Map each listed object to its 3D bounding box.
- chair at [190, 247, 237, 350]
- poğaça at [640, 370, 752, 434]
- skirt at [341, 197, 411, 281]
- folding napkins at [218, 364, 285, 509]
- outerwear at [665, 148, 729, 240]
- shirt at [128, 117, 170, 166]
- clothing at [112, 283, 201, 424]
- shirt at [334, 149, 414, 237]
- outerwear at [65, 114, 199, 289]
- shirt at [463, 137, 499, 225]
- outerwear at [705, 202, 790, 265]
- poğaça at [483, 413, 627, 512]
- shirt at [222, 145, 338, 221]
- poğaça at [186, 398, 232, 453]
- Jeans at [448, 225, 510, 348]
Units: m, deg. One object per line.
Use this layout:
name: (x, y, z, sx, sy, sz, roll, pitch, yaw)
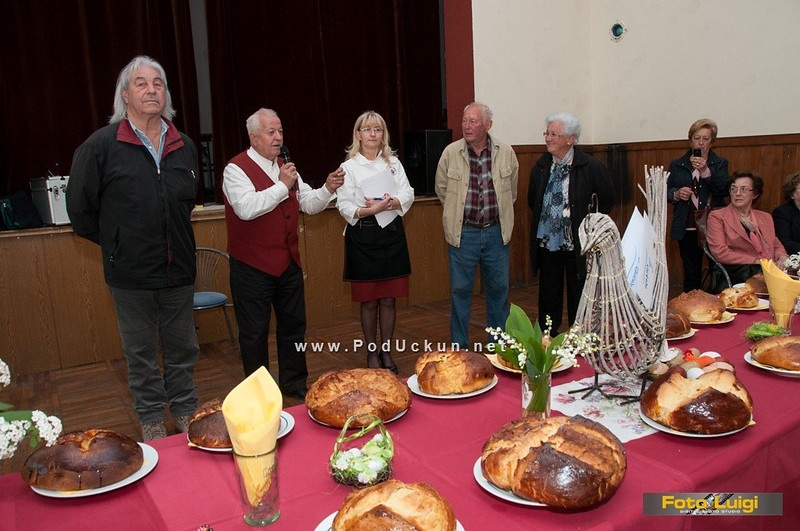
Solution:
chair: (-1.617, 0.255, 4.186, 0.410, 0.765, 0.489, 0, 12, -13)
poğaça: (0.872, 0.403, 1.482, 0.187, 0.094, 0.218, -17, 6, -5)
skirt: (-0.192, -0.120, 3.762, 0.543, 0.763, 0.380, -1, -5, -13)
folding napkins: (-0.356, 0.433, 1.286, 0.143, 0.281, 0.183, -13, 17, -24)
outerwear: (2.787, -0.669, 4.785, 0.475, 0.815, 0.462, 4, 11, 39)
shirt: (-1.270, -0.637, 2.619, 0.156, 0.256, 0.067, -9, -6, -28)
clothing: (-1.329, 0.463, 2.838, 0.387, 1.146, 0.284, -10, 26, -36)
shirt: (-0.232, -0.538, 3.724, 0.679, 0.830, 0.419, -1, 4, -24)
outerwear: (-1.359, -0.301, 2.663, 0.657, 0.904, 0.291, -15, 17, -29)
shirt: (0.602, -0.664, 3.760, 0.226, 0.674, 0.217, -7, 29, 3)
outerwear: (2.729, -0.229, 3.977, 0.534, 0.535, 0.444, 0, -1, 4)
poğaça: (0.374, 0.432, 1.268, 0.237, 0.095, 0.231, 3, 19, 35)
shirt: (-0.781, -0.471, 3.048, 0.562, 0.276, 0.470, 33, 34, 24)
poğaça: (-0.560, 0.473, 1.502, 0.139, 0.049, 0.144, 0, 42, -24)
Jeans: (0.618, 0.082, 3.977, 0.471, 1.304, 0.359, -6, 31, 1)
